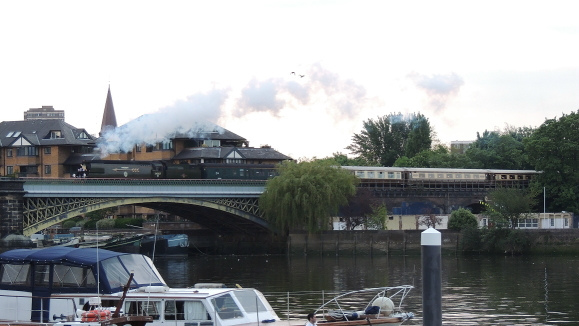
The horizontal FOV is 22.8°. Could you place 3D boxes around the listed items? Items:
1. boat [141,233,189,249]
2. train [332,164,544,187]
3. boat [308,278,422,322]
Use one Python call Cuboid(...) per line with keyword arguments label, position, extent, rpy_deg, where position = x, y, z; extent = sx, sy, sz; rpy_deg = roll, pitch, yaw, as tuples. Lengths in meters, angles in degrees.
Cuboid(label="boat", position=(-17.213, 10.756, 199.881), extent=(7.573, 1.915, 3.315), rpy_deg=(-6, -3, 16))
Cuboid(label="train", position=(22.937, 1.841, 217.576), extent=(38.495, 3.635, 3.212), rpy_deg=(1, 0, -11))
Cuboid(label="boat", position=(9.156, 16.710, 163.340), extent=(11.128, 3.514, 5.284), rpy_deg=(-2, 1, 8))
